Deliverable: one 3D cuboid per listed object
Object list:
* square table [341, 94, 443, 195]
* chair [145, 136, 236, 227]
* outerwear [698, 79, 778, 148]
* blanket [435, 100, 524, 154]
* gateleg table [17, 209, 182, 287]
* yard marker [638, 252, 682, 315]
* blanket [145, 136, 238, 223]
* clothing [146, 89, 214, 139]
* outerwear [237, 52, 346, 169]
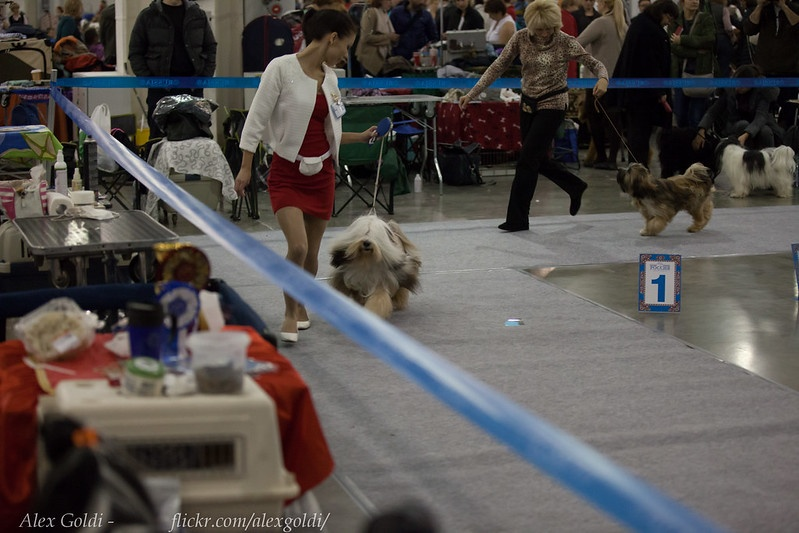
[{"bbox_3d":[-0.004,-1.696,9.880,1.585,1.422,1.530,0,16,2],"label":"square table"},{"bbox_3d":[-2.204,-0.932,7.457,1.206,0.916,1.094,-9,19,-26],"label":"chair"},{"bbox_3d":[4.836,-2.082,9.691,1.021,1.519,0.873,4,8,22],"label":"outerwear"},{"bbox_3d":[1.323,-2.212,10.708,1.565,0.568,1.472,-1,18,-15],"label":"blanket"},{"bbox_3d":[-1.525,-0.034,3.546,0.678,0.184,0.660,-5,5,-19],"label":"gateleg table"},{"bbox_3d":[1.853,0.132,4.848,0.428,0.562,0.094,1,1,7],"label":"yard marker"},{"bbox_3d":[-2.284,-0.881,7.406,1.080,0.807,1.050,-1,6,-19],"label":"blanket"},{"bbox_3d":[-2.306,-1.655,7.211,0.693,0.321,0.749,-4,1,-40],"label":"clothing"},{"bbox_3d":[-0.627,-1.009,4.305,0.712,0.661,0.382,-7,22,-39],"label":"outerwear"}]
